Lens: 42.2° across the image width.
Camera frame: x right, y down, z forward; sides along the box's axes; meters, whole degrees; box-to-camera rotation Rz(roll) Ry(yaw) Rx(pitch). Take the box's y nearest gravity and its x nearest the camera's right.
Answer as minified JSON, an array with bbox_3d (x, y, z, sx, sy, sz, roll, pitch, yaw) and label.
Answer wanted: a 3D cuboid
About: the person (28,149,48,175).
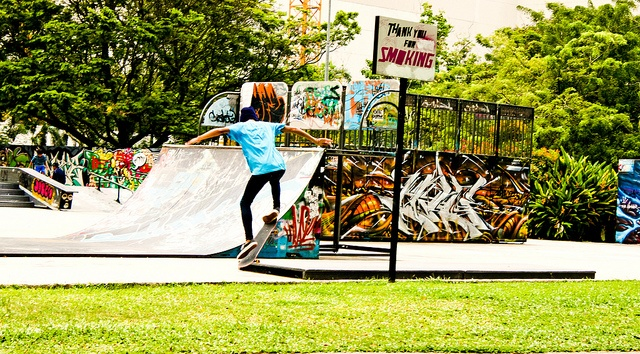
[{"bbox_3d":[-17.571,-0.998,51.532,1.070,1.446,0.252,3,0,17],"label":"person"}]
